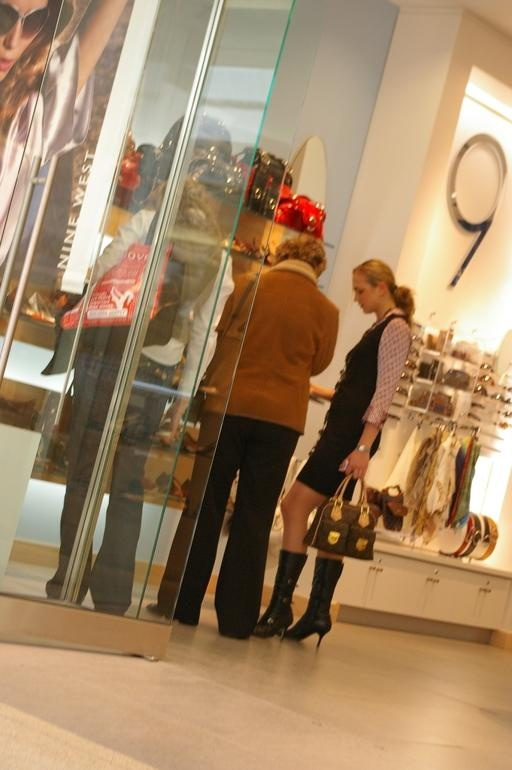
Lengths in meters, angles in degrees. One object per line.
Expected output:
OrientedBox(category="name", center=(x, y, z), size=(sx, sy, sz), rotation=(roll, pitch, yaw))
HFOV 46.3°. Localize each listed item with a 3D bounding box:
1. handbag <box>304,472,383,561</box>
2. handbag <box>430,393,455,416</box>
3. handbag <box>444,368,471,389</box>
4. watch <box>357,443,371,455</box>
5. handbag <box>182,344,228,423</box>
OrientedBox(category="handbag", center=(0.359, 0.476, 2.292), size=(0.247, 0.362, 0.138), rotation=(9, 26, 0))
OrientedBox(category="handbag", center=(1.288, 0.143, 4.146), size=(0.212, 0.170, 0.036), rotation=(17, 0, -32))
OrientedBox(category="handbag", center=(1.411, -0.049, 4.176), size=(0.153, 0.158, 0.039), rotation=(9, -3, -29))
OrientedBox(category="watch", center=(0.418, 0.250, 2.317), size=(0.045, 0.032, 0.041), rotation=(4, 3, -44))
OrientedBox(category="handbag", center=(-0.133, 0.040, 1.538), size=(0.069, 0.276, 0.079), rotation=(6, 41, -12))
